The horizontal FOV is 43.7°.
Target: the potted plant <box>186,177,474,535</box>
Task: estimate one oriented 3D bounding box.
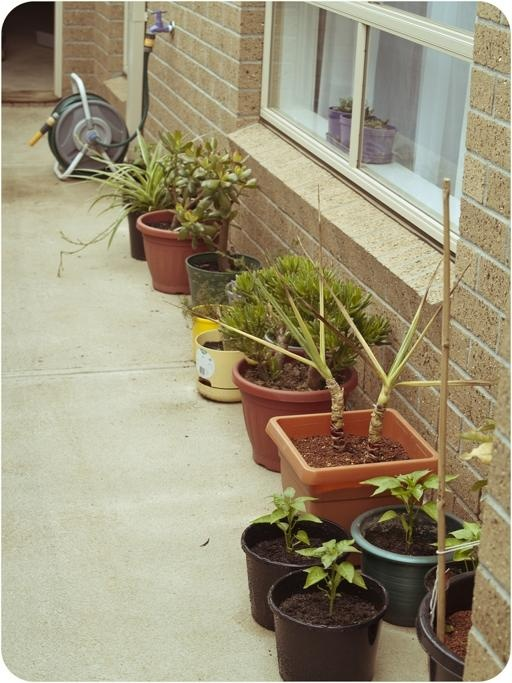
[{"bbox_3d":[0.217,0.072,1.987,0.764,0.894,0.969,-8,26,-9],"label":"potted plant"}]

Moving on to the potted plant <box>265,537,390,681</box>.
[{"bbox_3d":[0.144,0.573,1.303,0.235,0.299,0.224,4,16,13],"label":"potted plant"}]

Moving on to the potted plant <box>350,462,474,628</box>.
[{"bbox_3d":[0.378,0.516,1.551,0.312,0.295,0.308,13,-22,-28],"label":"potted plant"}]
